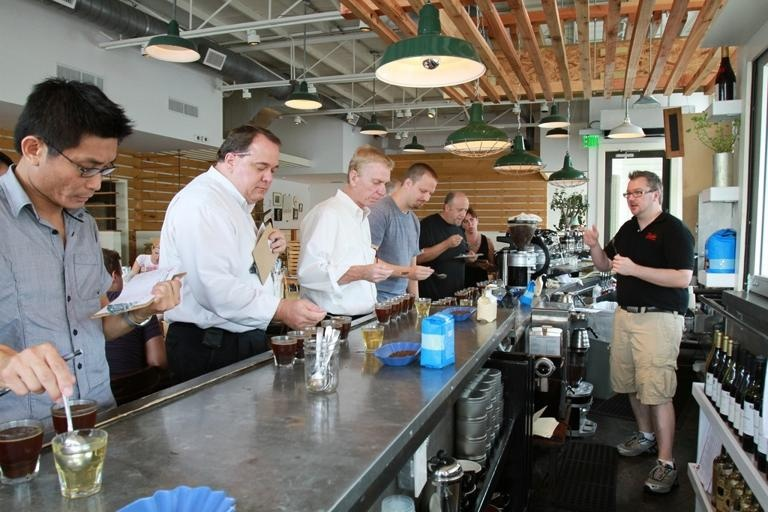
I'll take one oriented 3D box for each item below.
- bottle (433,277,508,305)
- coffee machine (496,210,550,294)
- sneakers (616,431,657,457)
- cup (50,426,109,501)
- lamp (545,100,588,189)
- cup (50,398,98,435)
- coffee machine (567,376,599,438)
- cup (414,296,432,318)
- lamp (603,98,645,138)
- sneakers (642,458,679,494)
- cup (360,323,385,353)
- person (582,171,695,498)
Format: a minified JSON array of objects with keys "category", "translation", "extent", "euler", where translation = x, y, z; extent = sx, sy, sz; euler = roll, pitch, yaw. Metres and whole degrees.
[{"category":"bottle","translation":[0.860,0.297,4.644],"extent":[0.223,0.223,1.173],"euler":[-3,-3,27]},{"category":"coffee machine","translation":[1.172,-0.014,4.849],"extent":[0.534,0.654,0.554],"euler":[12,14,39]},{"category":"sneakers","translation":[2.267,1.662,4.726],"extent":[0.449,0.198,0.154],"euler":[-1,-3,-3]},{"category":"cup","translation":[-0.994,0.688,1.773],"extent":[0.148,0.207,0.118],"euler":[-6,15,-33]},{"category":"lamp","translation":[2.638,-1.597,7.759],"extent":[0.608,1.156,0.560],"euler":[-1,5,16]},{"category":"cup","translation":[-1.128,0.586,1.975],"extent":[0.153,0.110,0.133],"euler":[-3,-2,9]},{"category":"coffee machine","translation":[1.873,1.496,5.264],"extent":[0.418,0.450,0.342],"euler":[7,14,25]},{"category":"cup","translation":[0.268,0.356,3.700],"extent":[0.126,0.130,0.127],"euler":[-5,-3,0]},{"category":"lamp","translation":[3.178,-1.806,7.034],"extent":[0.448,0.436,0.436],"euler":[-3,18,13]},{"category":"sneakers","translation":[2.169,1.699,4.172],"extent":[0.168,0.212,0.343],"euler":[14,17,42]},{"category":"cup","translation":[-0.061,0.447,2.914],"extent":[0.146,0.145,0.138],"euler":[2,-4,0]},{"category":"person","translation":[2.169,0.571,4.394],"extent":[0.603,2.454,1.156],"euler":[1,13,-9]}]
